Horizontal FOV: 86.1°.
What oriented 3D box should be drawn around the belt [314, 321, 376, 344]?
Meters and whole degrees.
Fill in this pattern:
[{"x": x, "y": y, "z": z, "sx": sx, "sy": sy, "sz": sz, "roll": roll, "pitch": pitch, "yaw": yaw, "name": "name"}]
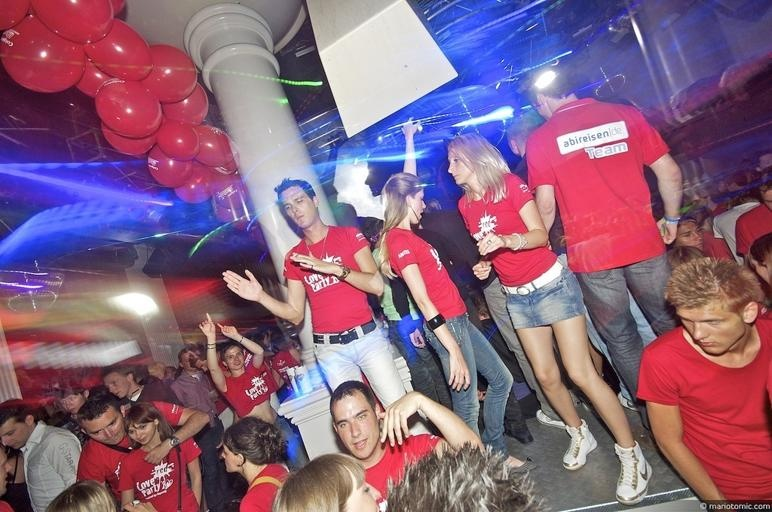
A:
[{"x": -0.408, "y": 0.769, "z": 3.923, "sx": 0.613, "sy": 0.120, "sz": 0.172, "roll": -18, "pitch": -10, "yaw": 11, "name": "belt"}]
